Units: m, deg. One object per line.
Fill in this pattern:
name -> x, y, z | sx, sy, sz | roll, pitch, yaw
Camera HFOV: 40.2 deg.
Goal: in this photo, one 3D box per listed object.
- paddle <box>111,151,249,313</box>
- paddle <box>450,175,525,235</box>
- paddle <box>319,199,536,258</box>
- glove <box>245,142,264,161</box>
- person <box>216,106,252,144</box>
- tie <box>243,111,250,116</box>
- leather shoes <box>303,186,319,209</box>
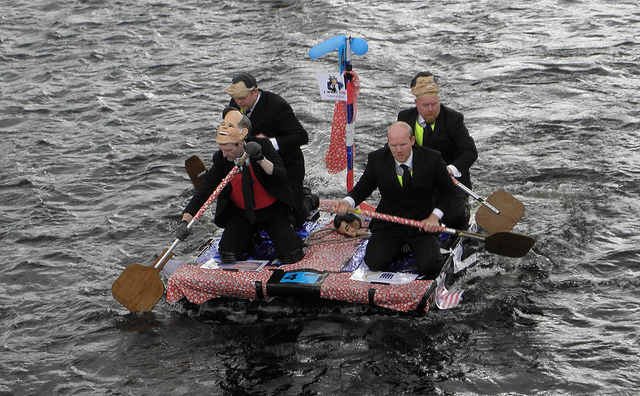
paddle -> -2.828, 0.805, 17.907 | 1.063, 0.150, 4.316 | 39, 86, 9
paddle -> 3.394, 0.181, 17.709 | 1.444, 0.065, 0.566 | 40, 70, 17
paddle -> 2.074, 0.617, 17.088 | 4.424, 0.235, 0.692 | 12, 95, 4
glove -> -1.246, -0.900, 16.515 | 0.324, 0.362, 0.227 | 1, 51, 6
person -> -1.638, -1.320, 16.835 | 0.596, 0.605, 0.747 | 12, 86, 11
tie -> -1.466, -1.706, 17.571 | 0.114, 0.141, 0.129 | 0, 21, -4
leather shoes -> -0.210, 0.010, 18.135 | 0.196, 0.584, 0.244 | 10, 57, 40
